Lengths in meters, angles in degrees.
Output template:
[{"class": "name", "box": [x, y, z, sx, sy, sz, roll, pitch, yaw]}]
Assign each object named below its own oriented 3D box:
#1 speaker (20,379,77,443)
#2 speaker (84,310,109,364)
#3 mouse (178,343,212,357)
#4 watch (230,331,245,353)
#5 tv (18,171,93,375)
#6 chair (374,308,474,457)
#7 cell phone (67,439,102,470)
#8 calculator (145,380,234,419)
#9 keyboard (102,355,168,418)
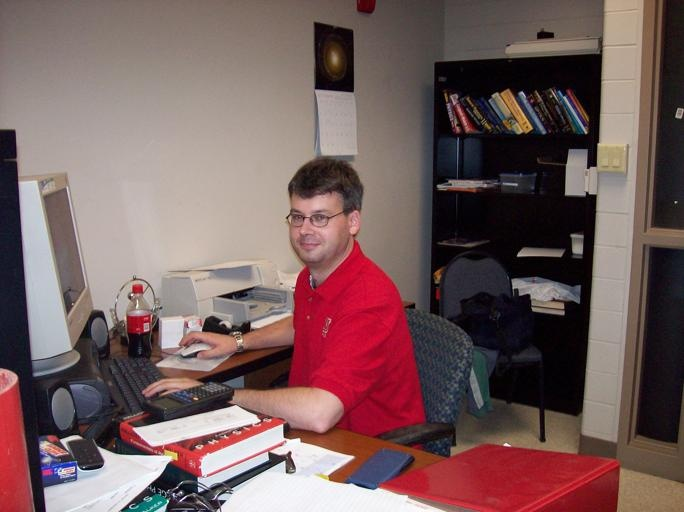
[{"class": "speaker", "box": [-0.671, 0.366, 1.228, 0.106, 0.155, 0.082, -1, 6, -6]}, {"class": "speaker", "box": [-0.982, 0.311, 1.910, 0.122, 0.185, 0.129, 13, -22, -24]}, {"class": "mouse", "box": [-0.572, 0.353, 1.881, 0.089, 0.030, 0.051, -6, 10, -32]}, {"class": "watch", "box": [-0.413, 0.333, 1.973, 0.046, 0.078, 0.073, -14, 39, -24]}, {"class": "tv", "box": [-0.866, 0.030, 1.473, 0.110, 0.564, 0.414, -8, 8, -20]}, {"class": "chair", "box": [0.341, 0.355, 1.777, 0.381, 0.527, 0.421, 10, 13, 43]}, {"class": "cell phone", "box": [-0.514, 0.397, 0.981, 0.097, 0.024, 0.055, 23, 6, 43]}, {"class": "calculator", "box": [-0.364, 0.357, 1.195, 0.107, 0.047, 0.209, 2, 3, 35]}, {"class": "keyboard", "box": [-0.674, 0.403, 1.562, 0.182, 0.107, 0.241, 1, 10, -28]}]
